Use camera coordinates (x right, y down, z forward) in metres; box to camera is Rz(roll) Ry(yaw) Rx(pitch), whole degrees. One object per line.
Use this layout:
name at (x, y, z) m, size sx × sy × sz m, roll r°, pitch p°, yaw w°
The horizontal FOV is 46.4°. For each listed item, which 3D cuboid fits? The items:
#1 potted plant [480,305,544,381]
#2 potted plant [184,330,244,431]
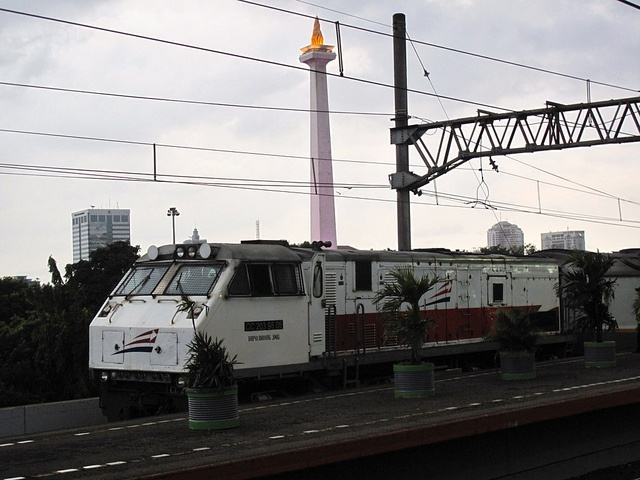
potted plant at (4.757, 2.771, 20.036) m, size 1.567 × 2.435 × 1.628 m, roll 6°, pitch -8°, yaw -45°
potted plant at (-1.998, 2.611, 13.813) m, size 0.938 × 1.743 × 0.471 m, roll -2°, pitch -6°, yaw -9°
